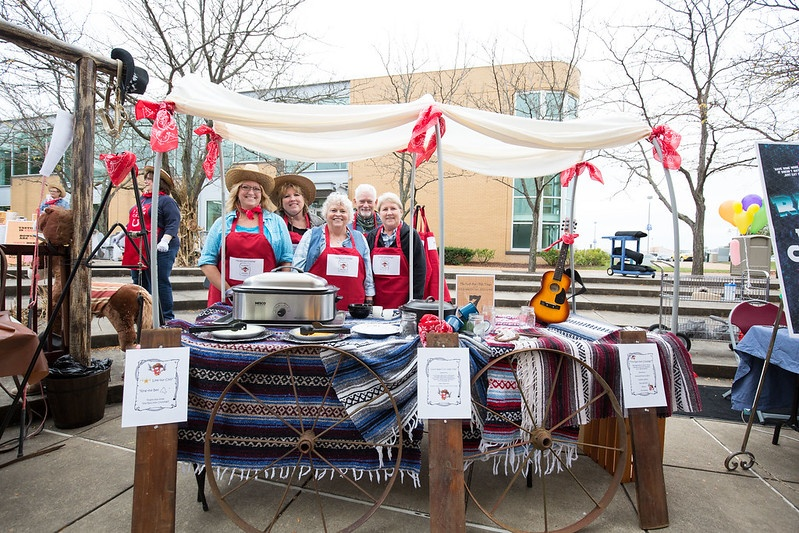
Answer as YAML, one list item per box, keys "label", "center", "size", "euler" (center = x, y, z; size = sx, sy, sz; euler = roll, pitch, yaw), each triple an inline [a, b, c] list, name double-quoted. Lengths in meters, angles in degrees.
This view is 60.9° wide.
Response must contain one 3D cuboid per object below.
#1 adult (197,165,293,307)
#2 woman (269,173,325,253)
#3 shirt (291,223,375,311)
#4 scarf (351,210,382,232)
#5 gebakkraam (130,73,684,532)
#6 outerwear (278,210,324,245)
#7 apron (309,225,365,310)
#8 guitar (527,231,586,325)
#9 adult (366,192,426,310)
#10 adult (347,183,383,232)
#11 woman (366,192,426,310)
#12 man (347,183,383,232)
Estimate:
- label: "adult"
  center: [-1.975, -0.060, 8.587]
  size: [1.093, 2.454, 0.712]
  euler: [-1, 28, -17]
- label: "woman"
  center: [-1.416, -0.792, 9.230]
  size: [0.849, 0.941, 1.482]
  euler: [0, 41, -13]
- label: "shirt"
  center: [-0.813, 0.034, 8.391]
  size: [1.095, 1.116, 0.595]
  euler: [8, -4, -25]
- label: "scarf"
  center: [-0.418, -0.582, 8.692]
  size: [0.240, 0.194, 0.321]
  euler: [2, 9, -4]
- label: "gebakkraam"
  center: [-0.065, 0.433, 8.253]
  size: [7.431, 6.373, 2.871]
  euler: [0, -6, -2]
- label: "outerwear"
  center: [-1.306, -0.496, 8.765]
  size: [0.405, 0.401, 0.222]
  euler: [12, -26, -33]
- label: "apron"
  center: [-0.754, 0.049, 8.412]
  size: [0.719, 1.078, 0.715]
  euler: [-3, -13, 19]
- label: "guitar"
  center: [1.788, 0.255, 7.884]
  size: [0.557, 1.189, 0.319]
  euler: [11, -11, 6]
- label: "adult"
  center: [-0.146, 0.118, 8.695]
  size: [0.821, 1.984, 0.496]
  euler: [2, 23, 2]
- label: "adult"
  center: [-0.472, -0.738, 8.949]
  size: [0.717, 0.746, 0.492]
  euler: [-1, 3, -7]
- label: "woman"
  center: [-0.156, 0.071, 8.769]
  size: [0.864, 2.128, 0.565]
  euler: [9, 38, 9]
- label: "man"
  center: [-0.457, -0.739, 8.914]
  size: [0.717, 0.746, 0.492]
  euler: [-1, 3, -7]
